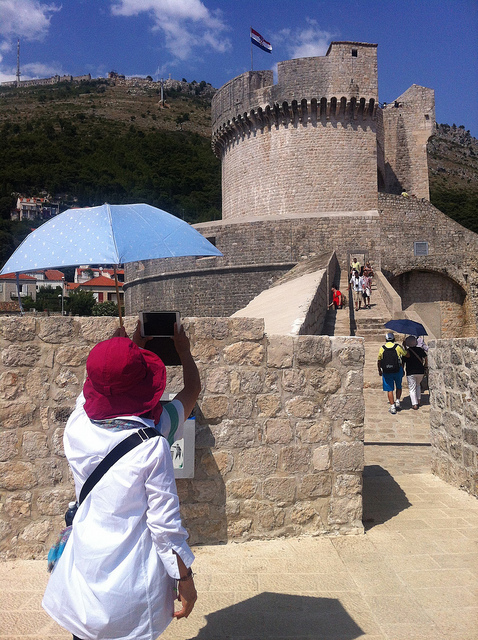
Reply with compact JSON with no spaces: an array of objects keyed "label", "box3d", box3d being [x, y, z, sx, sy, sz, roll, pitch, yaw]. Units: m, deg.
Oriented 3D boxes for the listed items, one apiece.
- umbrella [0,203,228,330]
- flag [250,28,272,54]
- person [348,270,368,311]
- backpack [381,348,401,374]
[{"label":"umbrella","box3d":[-0.615,-0.387,3.268,0.705,0.530,0.769,-6,8,3]},{"label":"flag","box3d":[0.918,-11.792,29.553,0.786,0.982,1.348,1,2,1]},{"label":"person","box3d":[2.634,-0.662,15.340,0.373,0.893,1.127,1,2,10]},{"label":"backpack","box3d":[1.836,0.506,8.556,0.228,0.334,0.178,2,2,30]}]
